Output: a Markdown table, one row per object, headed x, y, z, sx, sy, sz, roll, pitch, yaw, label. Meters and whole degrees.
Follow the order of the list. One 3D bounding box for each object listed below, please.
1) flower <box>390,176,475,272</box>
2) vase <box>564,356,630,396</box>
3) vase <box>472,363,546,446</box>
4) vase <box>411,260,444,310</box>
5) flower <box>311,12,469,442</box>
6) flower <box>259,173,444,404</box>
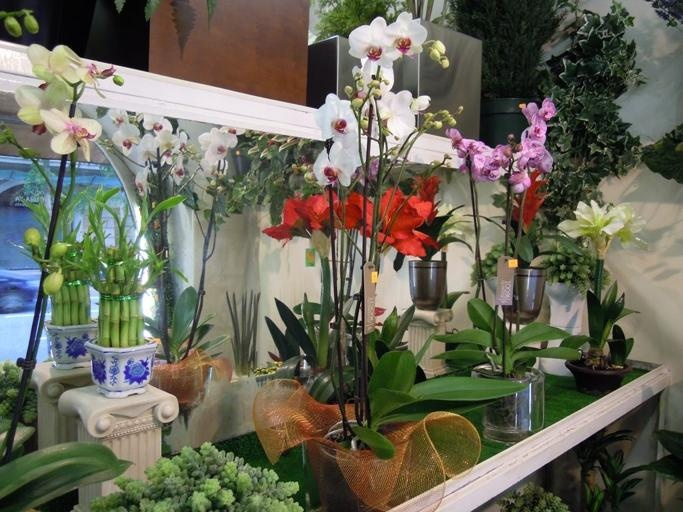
| x | y | z | sx | sy | sz | roll | pitch | yaw | label |
| --- | --- | --- | --- | --- | --- | --- | --- | --- | --- |
| 0.265 | -0.105 | 1.538 | 0.265 | 0.310 | 0.253 | 2 | 15 | 24 | flower |
| 0.786 | 0.368 | 1.654 | 0.115 | 0.057 | 0.126 | 0 | -5 | 7 | vase |
| 0.410 | 0.353 | 1.403 | 0.184 | 0.201 | 0.175 | -1 | -2 | 41 | vase |
| 0.245 | 0.082 | 1.556 | 0.112 | 0.146 | 0.118 | 0 | 1 | -7 | vase |
| 0.101 | -0.118 | 1.266 | 0.333 | 0.905 | 0.630 | 0 | 7 | 10 | flower |
| 0.079 | -0.035 | 1.109 | 0.216 | 0.608 | 0.173 | -15 | 26 | -25 | flower |
